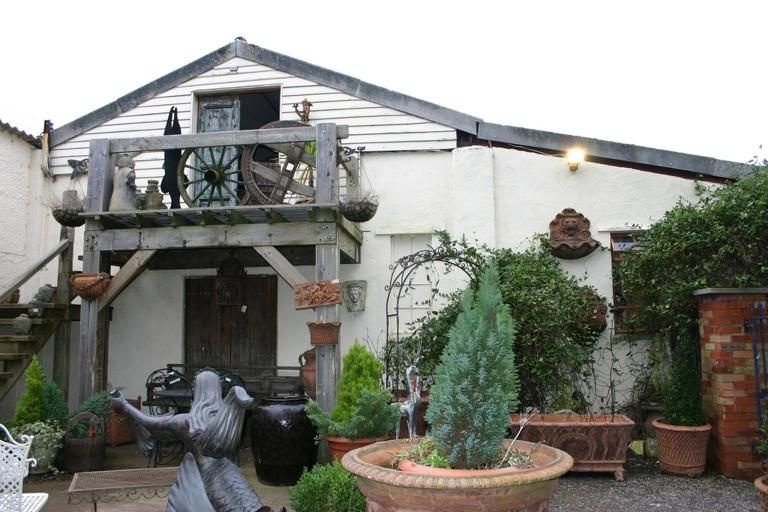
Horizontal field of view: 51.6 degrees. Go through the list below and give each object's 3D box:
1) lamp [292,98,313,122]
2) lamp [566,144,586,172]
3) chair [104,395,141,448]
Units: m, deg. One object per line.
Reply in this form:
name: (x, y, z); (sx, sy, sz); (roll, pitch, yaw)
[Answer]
lamp: (-1.433, -2.538, 13.842); (0.353, 0.465, 0.234); (0, -3, 6)
lamp: (3.156, -1.597, 13.058); (0.353, 0.514, 0.361); (3, 5, 34)
chair: (-4.318, 2.743, 13.243); (0.511, 0.705, 0.448); (1, 1, -27)
